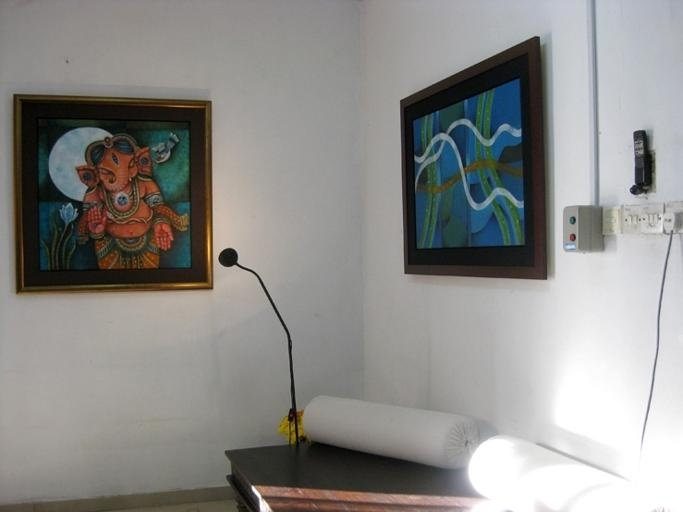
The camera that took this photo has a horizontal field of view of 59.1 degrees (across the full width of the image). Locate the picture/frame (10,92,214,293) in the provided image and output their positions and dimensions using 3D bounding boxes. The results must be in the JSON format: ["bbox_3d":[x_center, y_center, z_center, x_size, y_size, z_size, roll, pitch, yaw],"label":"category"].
[{"bbox_3d":[-1.320,-0.351,3.335,0.958,1.135,0.040,0,-1,-16],"label":"picture/frame"}]

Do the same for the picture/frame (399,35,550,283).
[{"bbox_3d":[0.552,-0.383,2.776,0.018,0.924,0.877,-3,0,-31],"label":"picture/frame"}]
